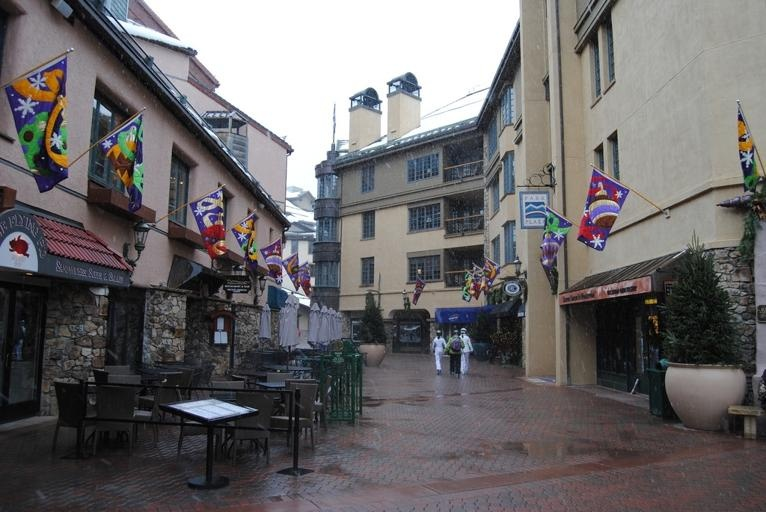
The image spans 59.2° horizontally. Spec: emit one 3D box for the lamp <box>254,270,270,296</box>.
[{"bbox_3d":[-5.705,1.291,31.576,0.364,1.219,1.222,-1,-4,5],"label":"lamp"}]

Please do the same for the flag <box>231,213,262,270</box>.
[{"bbox_3d":[-5.081,-0.524,25.072,0.763,2.142,2.925,1,1,-11],"label":"flag"}]

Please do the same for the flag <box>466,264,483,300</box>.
[{"bbox_3d":[5.153,1.369,37.162,1.323,0.687,1.868,-16,35,10],"label":"flag"}]

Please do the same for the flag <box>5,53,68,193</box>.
[{"bbox_3d":[-7.049,-2.719,13.827,1.009,2.767,0.302,0,1,-32],"label":"flag"}]

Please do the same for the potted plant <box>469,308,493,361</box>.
[{"bbox_3d":[5.971,4.550,39.222,1.447,2.863,1.557,1,1,41],"label":"potted plant"}]

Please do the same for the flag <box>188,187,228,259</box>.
[{"bbox_3d":[-5.449,-0.983,21.156,0.823,2.194,1.304,1,1,-4],"label":"flag"}]

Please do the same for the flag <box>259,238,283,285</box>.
[{"bbox_3d":[-4.422,0.211,27.097,0.702,1.669,1.692,1,1,-5],"label":"flag"}]

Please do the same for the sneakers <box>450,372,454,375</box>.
[{"bbox_3d":[2.928,4.944,28.197,0.154,0.179,0.159,3,0,2],"label":"sneakers"}]

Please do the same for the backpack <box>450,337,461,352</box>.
[{"bbox_3d":[2.957,3.591,27.205,0.491,0.624,0.431,1,1,-5],"label":"backpack"}]

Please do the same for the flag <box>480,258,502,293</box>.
[{"bbox_3d":[5.615,1.068,35.251,0.770,1.772,2.353,1,1,9],"label":"flag"}]

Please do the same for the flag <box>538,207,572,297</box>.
[{"bbox_3d":[6.185,-0.173,24.174,0.872,3.104,1.774,1,1,15],"label":"flag"}]

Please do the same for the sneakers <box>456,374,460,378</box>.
[{"bbox_3d":[3.095,4.924,27.675,0.131,0.201,0.187,6,-8,-40],"label":"sneakers"}]

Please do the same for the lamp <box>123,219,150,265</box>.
[{"bbox_3d":[-6.897,-0.320,18.851,0.682,1.276,0.552,-8,-17,6],"label":"lamp"}]

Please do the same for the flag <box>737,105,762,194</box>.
[{"bbox_3d":[9.012,-2.658,16.615,0.516,2.174,1.057,1,1,38],"label":"flag"}]

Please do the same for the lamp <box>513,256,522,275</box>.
[{"bbox_3d":[5.790,0.439,28.938,0.194,0.838,1.018,1,1,9],"label":"lamp"}]
